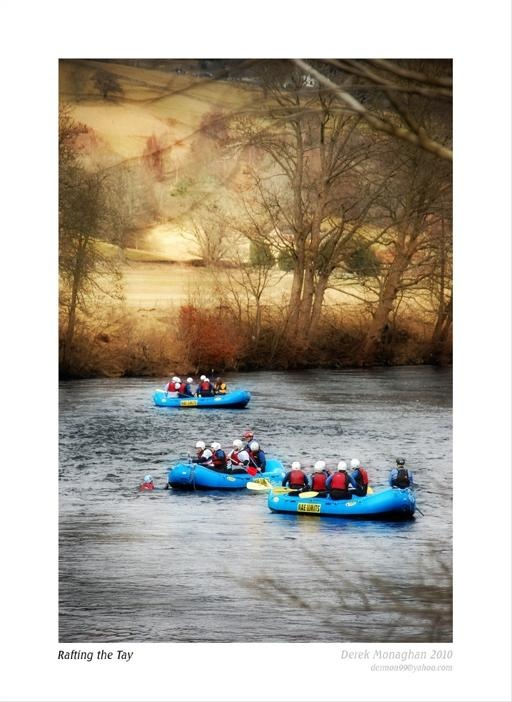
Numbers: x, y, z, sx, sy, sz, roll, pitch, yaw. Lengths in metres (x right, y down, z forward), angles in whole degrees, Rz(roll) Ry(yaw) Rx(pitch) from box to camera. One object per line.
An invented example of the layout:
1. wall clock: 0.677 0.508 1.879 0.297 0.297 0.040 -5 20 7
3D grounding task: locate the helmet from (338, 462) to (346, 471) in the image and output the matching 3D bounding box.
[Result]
1. helmet: 1.754 2.303 22.503 0.168 0.218 0.218 0 -51 -2

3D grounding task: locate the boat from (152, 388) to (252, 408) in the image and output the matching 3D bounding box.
1. boat: -1.769 1.694 38.051 2.634 0.565 1.156 -1 -5 7

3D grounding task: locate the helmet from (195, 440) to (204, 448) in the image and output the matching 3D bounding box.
1. helmet: -1.286 2.163 25.705 0.168 0.166 0.228 7 17 25

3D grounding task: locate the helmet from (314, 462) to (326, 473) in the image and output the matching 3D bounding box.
1. helmet: 1.343 2.349 22.920 0.175 0.217 0.216 7 -24 7

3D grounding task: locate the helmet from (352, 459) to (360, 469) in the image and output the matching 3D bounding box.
1. helmet: 2.060 2.314 22.868 0.150 0.163 0.196 1 -41 3

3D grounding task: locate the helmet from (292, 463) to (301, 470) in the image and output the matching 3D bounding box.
1. helmet: 0.864 2.394 23.468 0.154 0.185 0.192 -4 -24 2

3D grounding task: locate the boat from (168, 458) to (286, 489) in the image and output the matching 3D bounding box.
1. boat: -0.677 2.783 24.793 2.094 0.591 0.968 0 2 -14

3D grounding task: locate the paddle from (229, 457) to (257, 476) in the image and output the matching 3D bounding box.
1. paddle: -0.189 2.562 24.807 0.766 0.228 0.328 3 -12 20

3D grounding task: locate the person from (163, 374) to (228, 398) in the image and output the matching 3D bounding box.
1. person: -2.048 1.253 38.973 1.849 0.688 0.949 0 -3 -1

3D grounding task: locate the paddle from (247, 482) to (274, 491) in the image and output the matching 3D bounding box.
1. paddle: 0.114 2.951 24.495 0.683 0.194 0.159 0 -21 -28
